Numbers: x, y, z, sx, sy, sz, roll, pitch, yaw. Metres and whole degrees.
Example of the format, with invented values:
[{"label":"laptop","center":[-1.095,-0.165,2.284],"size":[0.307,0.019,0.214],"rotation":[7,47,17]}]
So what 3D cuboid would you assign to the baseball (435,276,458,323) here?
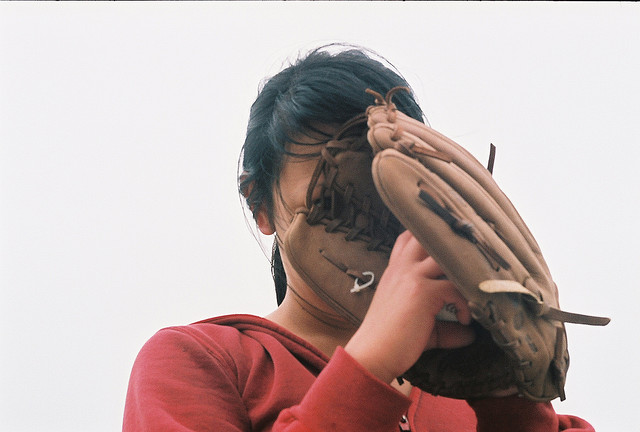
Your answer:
[{"label":"baseball","center":[0.253,0.165,1.667],"size":[0.034,0.087,0.064],"rotation":[-19,-29,25]}]

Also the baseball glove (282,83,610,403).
[{"label":"baseball glove","center":[0.285,0.123,1.750],"size":[0.345,0.549,0.726],"rotation":[-17,-59,27]}]
